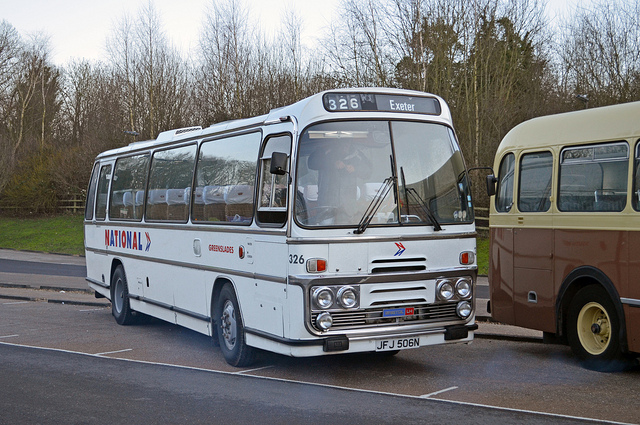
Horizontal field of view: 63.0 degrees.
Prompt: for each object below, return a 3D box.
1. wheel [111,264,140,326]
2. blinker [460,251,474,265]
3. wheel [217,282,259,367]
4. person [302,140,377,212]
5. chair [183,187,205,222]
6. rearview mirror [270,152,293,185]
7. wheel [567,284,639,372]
[{"bbox_3d":[-4.989,2.147,13.438,0.446,1.521,1.373,6,2,-33],"label":"wheel"},{"bbox_3d":[2.465,0.765,8.790,0.211,0.174,0.036,1,-2,-32],"label":"blinker"},{"bbox_3d":[-1.438,1.996,9.281,0.593,1.804,1.481,-2,1,-24],"label":"wheel"},{"bbox_3d":[0.307,-0.570,8.214,1.065,1.119,0.249,-1,0,-1],"label":"person"},{"bbox_3d":[-2.494,-0.209,10.644,0.318,0.607,0.301,2,1,-17],"label":"chair"},{"bbox_3d":[-0.641,-0.755,8.115,0.211,0.362,0.333,1,14,-32],"label":"rearview mirror"},{"bbox_3d":[4.763,1.915,8.671,0.411,1.402,1.282,0,-9,-23],"label":"wheel"}]
